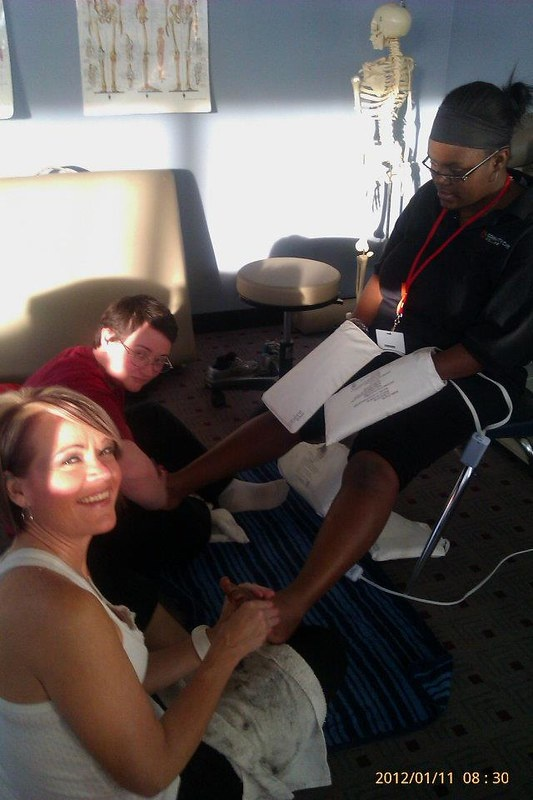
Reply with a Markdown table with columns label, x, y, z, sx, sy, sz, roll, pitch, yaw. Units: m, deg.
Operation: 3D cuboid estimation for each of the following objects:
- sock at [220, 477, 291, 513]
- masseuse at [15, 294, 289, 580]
| label | x | y | z | sx | sy | sz | roll | pitch | yaw |
| --- | --- | --- | --- | --- | --- | --- | --- | --- | --- |
| sock | -0.041 | 0.331 | 1.981 | 0.167 | 0.082 | 0.227 | -8 | 23 | -26 |
| masseuse | -0.323 | 0.083 | 1.670 | 0.913 | 0.766 | 0.593 | 1 | 21 | -13 |
